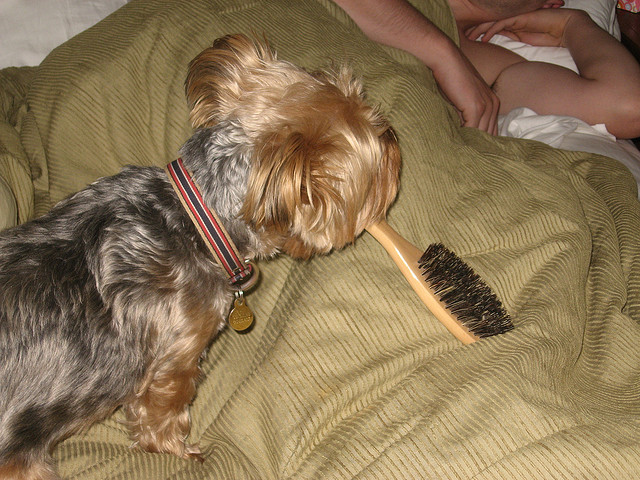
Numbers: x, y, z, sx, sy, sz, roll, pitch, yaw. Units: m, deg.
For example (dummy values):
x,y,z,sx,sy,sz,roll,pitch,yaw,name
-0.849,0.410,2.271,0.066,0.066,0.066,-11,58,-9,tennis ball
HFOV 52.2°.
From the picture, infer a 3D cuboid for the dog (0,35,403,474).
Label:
x,y,z,sx,sy,sz,roll,pitch,yaw,name
-0.565,0.085,2.586,0.935,0.923,1.850,39,70,19,dog
